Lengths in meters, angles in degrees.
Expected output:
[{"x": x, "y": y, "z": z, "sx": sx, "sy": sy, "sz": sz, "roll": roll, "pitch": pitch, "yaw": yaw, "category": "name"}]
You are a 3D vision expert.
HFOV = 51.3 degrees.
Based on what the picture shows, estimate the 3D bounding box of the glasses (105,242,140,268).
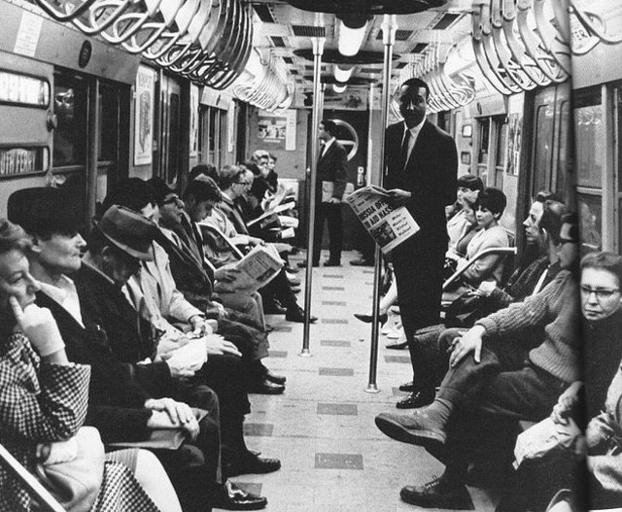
[{"x": -0.869, "y": 0.003, "z": 2.972, "sx": 0.117, "sy": 0.050, "sz": 0.092, "roll": 35, "pitch": -2, "yaw": -27, "category": "glasses"}]

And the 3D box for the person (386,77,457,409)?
[{"x": 0.675, "y": -0.187, "z": 4.651, "sx": 0.451, "sy": 2.107, "sz": 0.633, "roll": -3, "pitch": 23, "yaw": -1, "category": "person"}]

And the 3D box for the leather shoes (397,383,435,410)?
[{"x": 0.726, "y": 0.972, "z": 4.453, "sx": 0.312, "sy": 0.148, "sz": 0.116, "roll": -2, "pitch": -3, "yaw": 17, "category": "leather shoes"}]

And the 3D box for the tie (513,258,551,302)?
[{"x": 1.154, "y": 0.117, "z": 3.394, "sx": 0.069, "sy": 0.222, "sz": 0.155, "roll": 31, "pitch": -34, "yaw": -3, "category": "tie"}]

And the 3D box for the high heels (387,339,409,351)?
[{"x": 0.745, "y": 0.819, "z": 5.935, "sx": 0.277, "sy": 0.089, "sz": 0.111, "roll": 4, "pitch": -6, "yaw": -7, "category": "high heels"}]

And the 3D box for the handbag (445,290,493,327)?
[{"x": 1.093, "y": 0.382, "z": 4.502, "sx": 0.256, "sy": 0.119, "sz": 0.219, "roll": -32, "pitch": 5, "yaw": 33, "category": "handbag"}]

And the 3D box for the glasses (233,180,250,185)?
[{"x": -0.803, "y": -0.820, "z": 7.280, "sx": 0.144, "sy": 0.050, "sz": 0.154, "roll": -2, "pitch": 4, "yaw": -3, "category": "glasses"}]

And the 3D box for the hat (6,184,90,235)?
[{"x": -0.989, "y": -0.168, "z": 2.510, "sx": 0.191, "sy": 0.159, "sz": 0.212, "roll": 1, "pitch": 2, "yaw": 4, "category": "hat"}]

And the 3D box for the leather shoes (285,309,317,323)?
[{"x": -0.149, "y": 0.622, "z": 6.671, "sx": 0.402, "sy": 0.209, "sz": 0.143, "roll": -1, "pitch": 0, "yaw": 4, "category": "leather shoes"}]

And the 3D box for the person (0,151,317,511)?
[{"x": -0.689, "y": 0.485, "z": 2.841, "sx": 0.831, "sy": 1.576, "sz": 1.136, "roll": 3, "pitch": 8, "yaw": 12, "category": "person"}]

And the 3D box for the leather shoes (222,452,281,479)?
[{"x": -0.332, "y": 1.134, "z": 3.575, "sx": 0.325, "sy": 0.152, "sz": 0.118, "roll": -1, "pitch": 5, "yaw": -14, "category": "leather shoes"}]

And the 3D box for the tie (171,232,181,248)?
[{"x": -0.877, "y": -0.105, "z": 4.207, "sx": 0.025, "sy": 0.090, "sz": 0.064, "roll": -3, "pitch": 20, "yaw": 25, "category": "tie"}]
